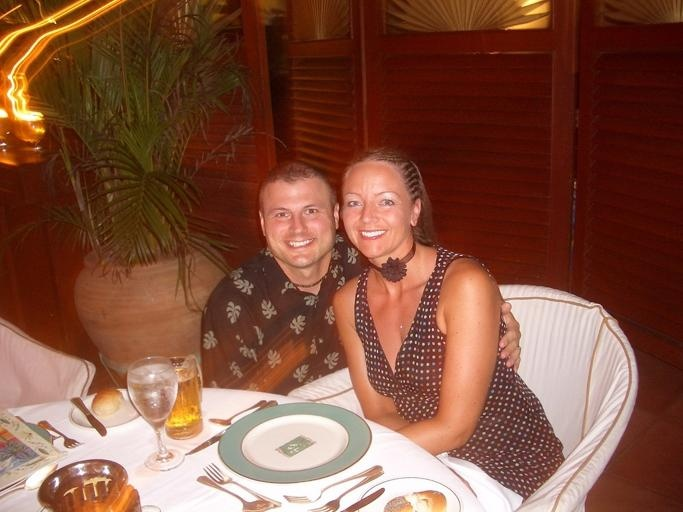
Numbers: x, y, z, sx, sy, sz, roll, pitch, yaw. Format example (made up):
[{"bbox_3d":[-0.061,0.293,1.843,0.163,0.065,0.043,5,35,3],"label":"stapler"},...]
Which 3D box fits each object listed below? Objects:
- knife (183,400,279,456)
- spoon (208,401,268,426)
[{"bbox_3d":[-0.297,0.475,1.427,0.029,0.032,0.270,23,30,30],"label":"knife"},{"bbox_3d":[-0.289,0.452,1.492,0.159,0.022,0.032,-7,14,-41],"label":"spoon"}]
